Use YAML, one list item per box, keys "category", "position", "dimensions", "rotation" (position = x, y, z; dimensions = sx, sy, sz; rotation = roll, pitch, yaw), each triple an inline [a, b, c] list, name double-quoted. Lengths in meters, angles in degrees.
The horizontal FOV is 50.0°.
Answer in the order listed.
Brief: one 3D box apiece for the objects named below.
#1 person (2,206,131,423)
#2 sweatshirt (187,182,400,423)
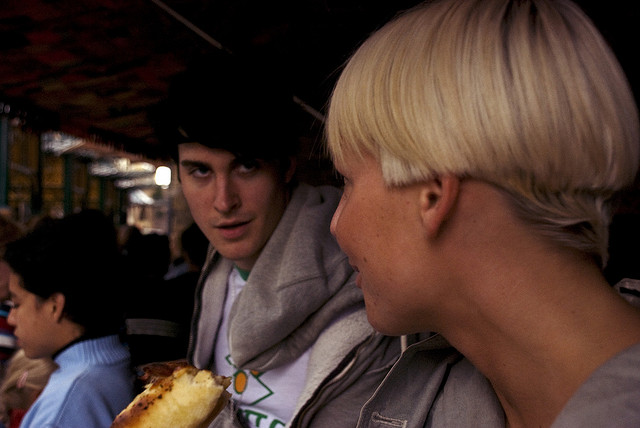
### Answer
- category: "person"
  position: [-1.465, 0.578, 4.002]
  dimensions: [0.650, 1.135, 1.152]
  rotation: [-3, -8, 11]
- category: "sweatshirt"
  position: [-0.048, 0.535, 3.485]
  dimensions: [0.927, 1.396, 0.575]
  rotation: [6, 8, 15]
